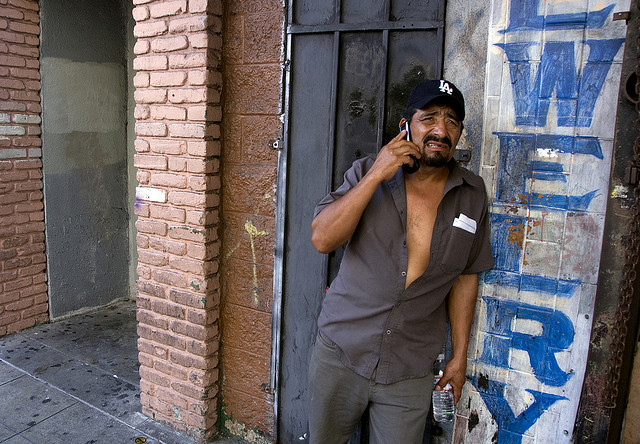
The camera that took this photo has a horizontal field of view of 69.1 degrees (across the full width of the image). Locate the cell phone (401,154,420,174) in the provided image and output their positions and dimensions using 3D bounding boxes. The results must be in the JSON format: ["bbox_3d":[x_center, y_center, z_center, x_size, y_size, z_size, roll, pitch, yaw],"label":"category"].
[{"bbox_3d":[0.576,-0.347,2.965,0.107,0.113,0.111,32,28,14],"label":"cell phone"}]

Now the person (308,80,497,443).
[{"bbox_3d":[0.513,0.322,3.028,1.138,2.417,0.568,4,11,13],"label":"person"}]

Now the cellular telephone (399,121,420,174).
[{"bbox_3d":[0.578,-0.468,2.948,0.063,0.304,0.145,-1,0,-33],"label":"cellular telephone"}]

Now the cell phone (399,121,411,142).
[{"bbox_3d":[0.547,-0.573,2.972,0.014,0.148,0.102,12,-24,-18],"label":"cell phone"}]
